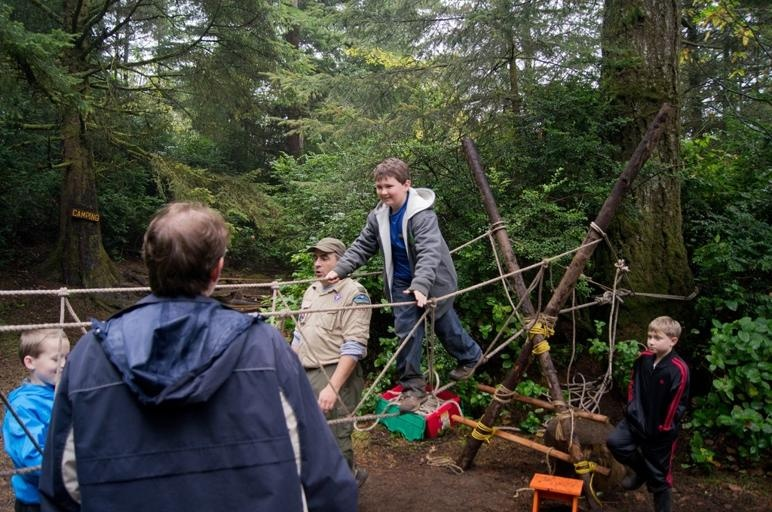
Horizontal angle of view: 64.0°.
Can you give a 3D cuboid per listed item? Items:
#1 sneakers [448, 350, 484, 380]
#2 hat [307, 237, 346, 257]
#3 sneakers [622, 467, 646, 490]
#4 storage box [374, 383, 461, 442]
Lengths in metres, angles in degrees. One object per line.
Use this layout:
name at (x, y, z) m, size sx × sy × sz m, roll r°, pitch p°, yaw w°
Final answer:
sneakers at (0.843, 1.178, 6.564) m, size 0.466 × 0.184 × 0.171 m, roll -40°, pitch 11°, yaw -18°
hat at (-0.570, -0.096, 6.084) m, size 0.273 × 0.127 × 0.182 m, roll 9°, pitch -6°, yaw -30°
sneakers at (2.557, 2.274, 6.311) m, size 0.410 × 0.174 × 0.173 m, roll 0°, pitch 0°, yaw -42°
storage box at (0.344, 1.928, 7.487) m, size 0.825 × 0.310 × 0.826 m, roll 1°, pitch 6°, yaw 39°
